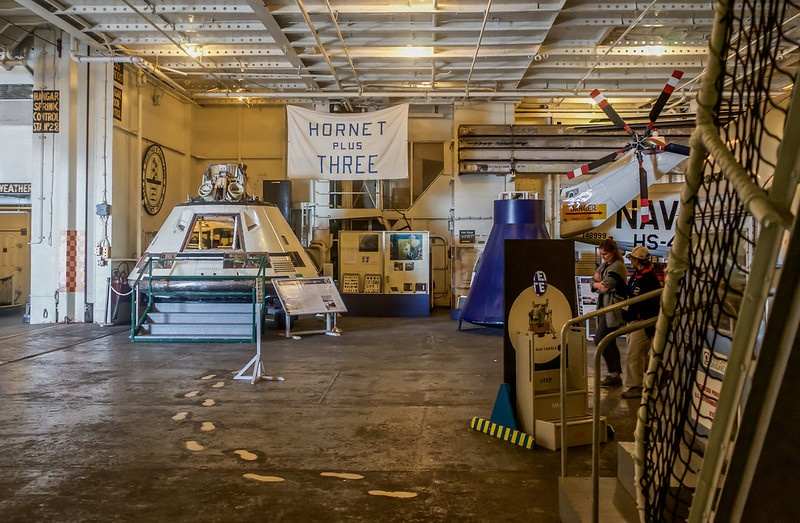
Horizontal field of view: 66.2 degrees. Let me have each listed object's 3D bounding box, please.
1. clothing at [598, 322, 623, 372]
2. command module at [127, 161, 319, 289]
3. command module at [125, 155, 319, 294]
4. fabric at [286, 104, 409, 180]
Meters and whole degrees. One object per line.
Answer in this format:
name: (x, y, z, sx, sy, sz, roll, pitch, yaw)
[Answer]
clothing: (2.445, 0.922, 7.201, 0.242, 0.770, 0.220, 0, 4, 29)
command module: (-3.392, -0.812, 12.508, 3.613, 2.522, 3.475, 3, 3, 2)
command module: (-3.318, -0.741, 12.278, 3.028, 2.784, 3.842, 0, 1, -3)
fabric: (-1.020, -2.324, 11.886, 2.281, 1.409, 0.670, -1, 7, -8)
